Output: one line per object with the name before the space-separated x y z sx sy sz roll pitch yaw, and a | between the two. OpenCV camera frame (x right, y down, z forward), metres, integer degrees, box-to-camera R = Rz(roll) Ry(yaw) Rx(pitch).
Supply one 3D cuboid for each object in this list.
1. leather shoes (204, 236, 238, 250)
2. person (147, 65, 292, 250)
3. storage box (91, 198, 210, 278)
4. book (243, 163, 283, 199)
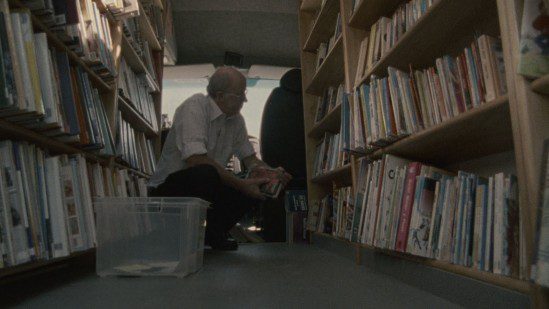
leather shoes | -0.388 0.655 2.964 0.178 0.060 0.131 -1 -4 6
person | -0.465 0.031 3.276 0.983 1.337 0.915 4 -2 40
storage box | -0.670 0.439 2.263 0.481 0.287 0.455 1 -6 -2
book | -0.084 0.188 3.125 0.254 0.062 0.258 8 50 7
